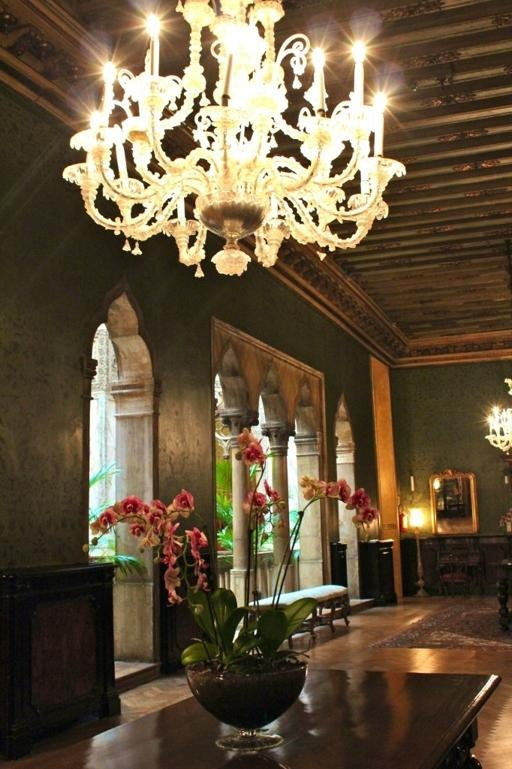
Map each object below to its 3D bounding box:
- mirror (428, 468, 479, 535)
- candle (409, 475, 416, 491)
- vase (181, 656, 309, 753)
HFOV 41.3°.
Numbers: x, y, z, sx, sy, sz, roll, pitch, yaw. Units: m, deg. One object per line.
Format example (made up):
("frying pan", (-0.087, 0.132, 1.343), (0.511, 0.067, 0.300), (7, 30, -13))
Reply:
("mirror", (4.846, 2.891, 16.553), (1.674, 2.114, 0.173), (-3, -12, 26))
("candle", (3.915, 2.504, 17.089), (0.097, 0.414, 0.141), (-11, -14, 40))
("vase", (-0.018, 0.863, 1.837), (0.290, 0.203, 0.246), (8, -14, -41))
